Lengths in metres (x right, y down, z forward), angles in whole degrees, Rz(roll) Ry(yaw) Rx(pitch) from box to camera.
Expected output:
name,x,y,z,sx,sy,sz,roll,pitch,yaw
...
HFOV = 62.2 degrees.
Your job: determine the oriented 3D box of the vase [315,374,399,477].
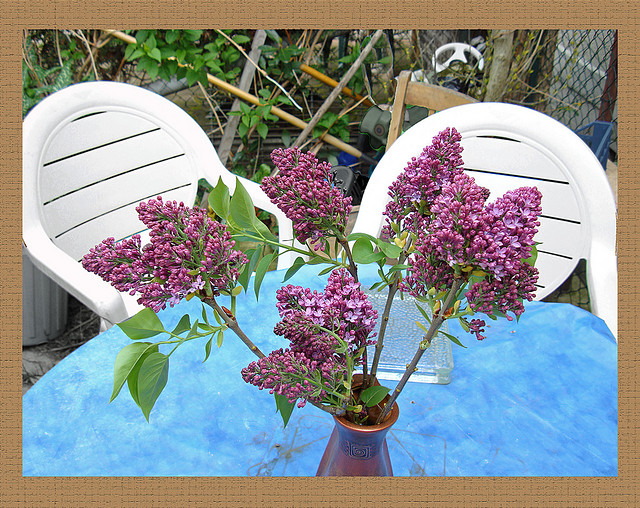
name,x,y,z,sx,sy,sz,roll,pitch,yaw
vase,0.051,0.280,0.708,0.096,0.139,0.099,2,6,-28
